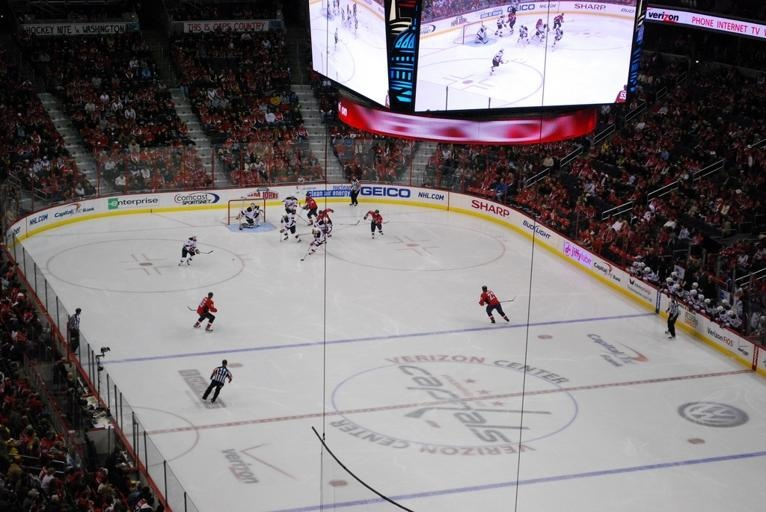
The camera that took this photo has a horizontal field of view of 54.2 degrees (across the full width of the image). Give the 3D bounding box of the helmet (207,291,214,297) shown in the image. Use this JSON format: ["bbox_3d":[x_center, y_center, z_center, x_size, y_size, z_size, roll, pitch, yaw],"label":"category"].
[{"bbox_3d":[-4.937,1.097,21.386,0.201,0.139,0.315,-5,5,-23],"label":"helmet"}]

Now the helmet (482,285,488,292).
[{"bbox_3d":[3.042,0.955,22.027,0.205,0.217,0.229,-4,4,-2],"label":"helmet"}]

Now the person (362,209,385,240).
[{"bbox_3d":[-0.399,-1.252,30.260,0.773,1.315,0.997,10,45,10],"label":"person"}]

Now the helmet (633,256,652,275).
[{"bbox_3d":[8.419,0.299,24.413,0.451,0.272,0.624,-4,46,14],"label":"helmet"}]

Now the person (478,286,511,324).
[{"bbox_3d":[3.254,1.427,22.355,0.662,0.579,1.249,-6,67,-22],"label":"person"}]

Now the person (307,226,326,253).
[{"bbox_3d":[-2.378,-0.566,26.709,0.564,0.485,1.335,0,-8,-15],"label":"person"}]
